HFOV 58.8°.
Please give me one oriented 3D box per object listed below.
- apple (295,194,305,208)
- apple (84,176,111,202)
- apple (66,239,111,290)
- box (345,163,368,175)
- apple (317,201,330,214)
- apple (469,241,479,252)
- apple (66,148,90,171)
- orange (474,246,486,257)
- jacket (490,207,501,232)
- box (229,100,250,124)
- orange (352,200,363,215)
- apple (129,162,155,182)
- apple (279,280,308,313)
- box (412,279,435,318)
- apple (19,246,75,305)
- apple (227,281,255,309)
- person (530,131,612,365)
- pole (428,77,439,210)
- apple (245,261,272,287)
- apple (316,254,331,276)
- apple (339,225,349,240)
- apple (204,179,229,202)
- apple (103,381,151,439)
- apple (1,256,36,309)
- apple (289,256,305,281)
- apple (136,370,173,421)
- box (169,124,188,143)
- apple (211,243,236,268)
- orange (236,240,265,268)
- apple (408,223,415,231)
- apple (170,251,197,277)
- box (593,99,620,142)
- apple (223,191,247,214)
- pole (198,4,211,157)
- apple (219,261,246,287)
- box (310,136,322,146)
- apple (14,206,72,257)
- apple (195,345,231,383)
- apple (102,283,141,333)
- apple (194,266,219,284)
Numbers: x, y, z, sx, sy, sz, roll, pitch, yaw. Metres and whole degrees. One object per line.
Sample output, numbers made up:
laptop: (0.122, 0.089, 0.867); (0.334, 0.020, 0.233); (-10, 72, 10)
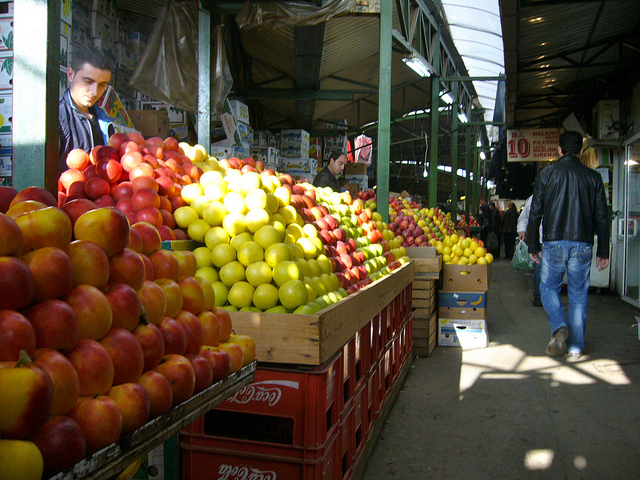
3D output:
apple: (-0.155, -0.296, 4.292); (0.069, 0.096, 0.171); (-2, 4, -5)
apple: (-1.308, -0.293, 3.365); (0.141, 0.149, 0.127); (-17, -29, 38)
apple: (-0.844, 0.095, 2.074); (0.161, 0.162, 0.112); (0, 11, -44)
box: (0.785, -1.583, 12.706); (0.465, 0.393, 0.539); (0, -3, 7)
apple: (0.044, -0.276, 4.792); (0.067, 0.087, 0.077); (1, 4, 20)
apple: (1.923, 0.074, 7.097); (0.095, 0.124, 0.129); (9, 14, -5)
apple: (-1.458, -0.481, 3.424); (0.123, 0.130, 0.101); (-4, 4, -27)
orange: (1.980, 0.152, 7.030); (0.118, 0.114, 0.118); (0, 4, 19)
jacket: (5.803, -0.659, 18.832); (0.196, 0.642, 0.701); (-1, 6, 21)
box: (-1.071, -1.686, 7.469); (0.163, 0.268, 0.353); (-2, 0, 15)
orange: (0.351, -0.309, 5.354); (0.046, 0.121, 0.107); (-1, -18, -3)
apple: (-1.065, -0.410, 3.394); (0.149, 0.110, 0.140); (-3, 4, -22)
apple: (-0.154, 0.309, 3.172); (0.140, 0.178, 0.157); (0, 7, 1)
box: (1.099, 0.666, 6.402); (0.271, 0.454, 0.574); (6, -9, -1)
apple: (-0.923, 0.112, 1.962); (0.089, 0.177, 0.210); (5, 9, 13)
apple: (-0.446, 0.317, 3.222); (0.146, 0.143, 0.070); (-2, 3, -5)
person: (2.567, 0.068, 5.893); (0.577, 2.458, 0.593); (1, -10, 25)
pole: (2.434, -2.058, 12.129); (0.226, 2.721, 0.689); (-1, 3, 12)
apple: (-0.346, 0.194, 3.235); (0.119, 0.146, 0.123); (8, -22, -27)
apple: (0.024, 0.156, 3.743); (0.090, 0.137, 0.104); (-4, -32, -17)
apple: (0.207, -0.062, 4.674); (0.065, 0.111, 0.055); (-1, -11, 17)
apple: (-0.665, -0.310, 3.591); (0.099, 0.132, 0.150); (-1, 0, 1)
apple: (-0.692, 0.621, 2.056); (0.162, 0.223, 0.199); (-4, -2, 4)
apple: (-0.994, 0.141, 1.867); (0.104, 0.169, 0.047); (-4, 4, -34)
apple: (-0.142, 0.177, 3.296); (0.083, 0.129, 0.093); (-4, 1, -6)
apple: (-0.627, 0.592, 2.128); (0.134, 0.183, 0.138); (-36, -30, 30)
box: (-1.868, -1.417, 7.511); (0.232, 0.217, 0.197); (-3, 4, -21)
apple: (-0.557, 0.089, 3.305); (0.111, 0.135, 0.130); (6, -39, 4)
orange: (-0.403, 0.075, 3.338); (0.131, 0.155, 0.135); (28, 6, -30)
apple: (1.132, -0.155, 7.027); (0.057, 0.092, 0.068); (-6, -22, 22)
apple: (-0.674, 0.114, 2.792); (0.102, 0.130, 0.115); (-1, -1, -1)
box: (4.834, -2.007, 9.546); (0.229, 0.754, 0.760); (-1, 1, 12)
apple: (-0.530, -0.215, 3.554); (0.106, 0.139, 0.145); (-3, -11, 15)
pole: (-1.322, -1.813, 6.401); (0.173, 1.655, 0.288); (-2, 3, -5)
apple: (-0.503, 0.193, 3.252); (0.124, 0.147, 0.120); (-16, 22, -39)
box: (-0.090, -2.183, 12.225); (0.132, 0.224, 0.276); (5, 8, 28)
apple: (-0.975, -0.038, 2.015); (0.150, 0.163, 0.168); (-15, 24, 48)
apple: (-0.451, 0.522, 2.378); (0.112, 0.149, 0.129); (-1, -4, 3)
apple: (-0.719, 0.242, 2.144); (0.114, 0.165, 0.169); (3, 10, 9)
apple: (-0.644, 0.198, 3.266); (0.103, 0.130, 0.134); (-13, -3, 33)
